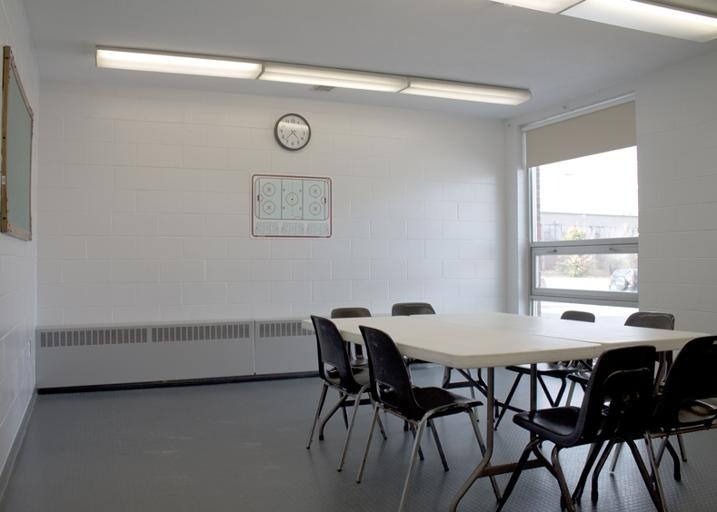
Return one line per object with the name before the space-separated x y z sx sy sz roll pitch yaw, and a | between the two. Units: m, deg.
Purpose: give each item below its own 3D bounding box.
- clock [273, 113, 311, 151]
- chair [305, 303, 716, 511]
clock | -0.876 -1.603 6.298 0.425 0.420 0.062 14 -9 -15
chair | 1.062 1.086 3.769 2.354 1.059 1.756 -1 0 -9
